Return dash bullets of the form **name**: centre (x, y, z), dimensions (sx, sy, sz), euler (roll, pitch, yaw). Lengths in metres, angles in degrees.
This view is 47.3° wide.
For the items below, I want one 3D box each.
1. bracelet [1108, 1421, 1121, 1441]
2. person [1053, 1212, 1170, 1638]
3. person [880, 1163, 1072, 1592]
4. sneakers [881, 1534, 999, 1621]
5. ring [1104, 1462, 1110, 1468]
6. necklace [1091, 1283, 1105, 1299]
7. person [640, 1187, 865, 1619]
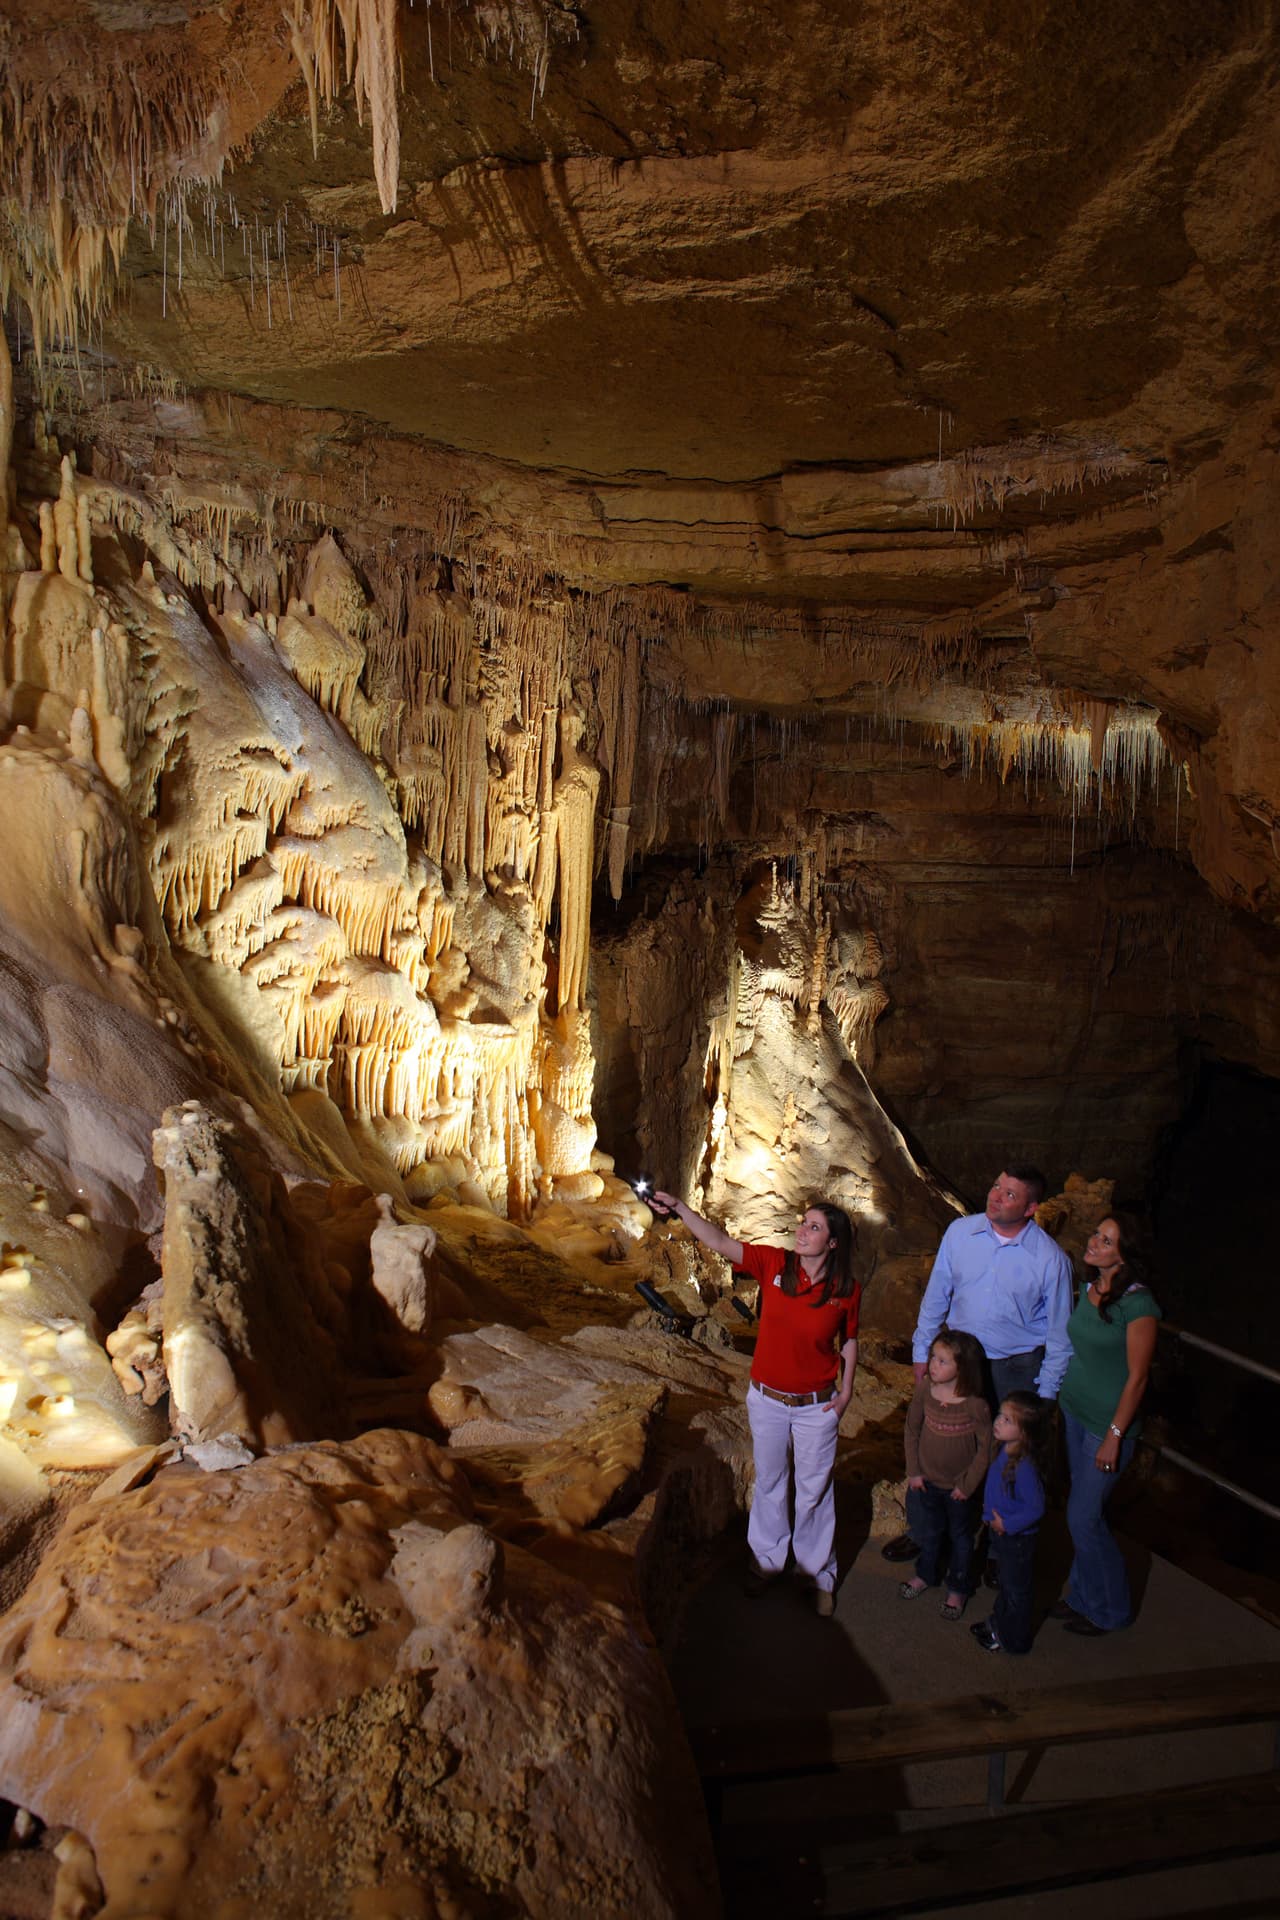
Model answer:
- **bracelet**: centre (1.269, 1.261, 3.910), dimensions (0.035, 0.032, 0.036), euler (13, -2, 19)
- **person**: centre (1.288, 1.271, 4.065), dimensions (0.260, 1.070, 0.449), euler (7, 3, 20)
- **person**: centre (1.001, 1.145, 4.240), dimensions (0.423, 1.124, 0.349), euler (8, 18, 16)
- **sneakers**: centre (0.848, 1.771, 4.245), dimensions (0.133, 0.165, 0.424), euler (1, -1, -32)
- **ring**: centre (1.252, 1.358, 3.941), dimensions (0.005, 0.021, 0.021), euler (6, -2, -17)
- **necklace**: centre (1.262, 0.918, 4.039), dimensions (0.028, 0.006, 0.026), euler (-17, 12, -21)
- **person**: centre (0.339, 1.194, 4.074), dimensions (0.524, 0.980, 0.558), euler (6, 3, 9)
